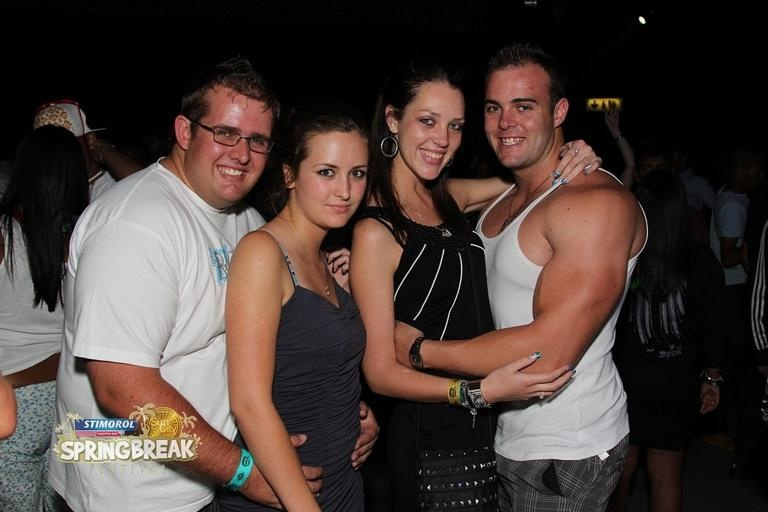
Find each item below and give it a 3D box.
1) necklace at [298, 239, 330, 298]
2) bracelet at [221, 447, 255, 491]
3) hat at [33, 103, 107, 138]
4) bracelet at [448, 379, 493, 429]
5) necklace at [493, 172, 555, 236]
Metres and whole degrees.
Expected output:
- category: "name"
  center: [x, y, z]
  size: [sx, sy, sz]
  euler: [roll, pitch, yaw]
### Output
- category: "necklace"
  center: [-0.362, 0.094, 3.474]
  size: [0.066, 0.268, 0.146]
  euler: [-13, -18, 37]
- category: "bracelet"
  center: [-0.720, 1.108, 3.182]
  size: [0.082, 0.162, 0.191]
  euler: [32, 36, -22]
- category: "hat"
  center: [-2.476, -1.082, 4.869]
  size: [0.260, 0.202, 0.410]
  euler: [-4, 24, -10]
- category: "bracelet"
  center: [0.452, 0.766, 3.429]
  size: [0.285, 0.201, 0.259]
  euler: [-24, -2, 4]
- category: "necklace"
  center: [0.880, -0.300, 3.699]
  size: [0.105, 0.436, 0.232]
  euler: [32, 7, -4]
